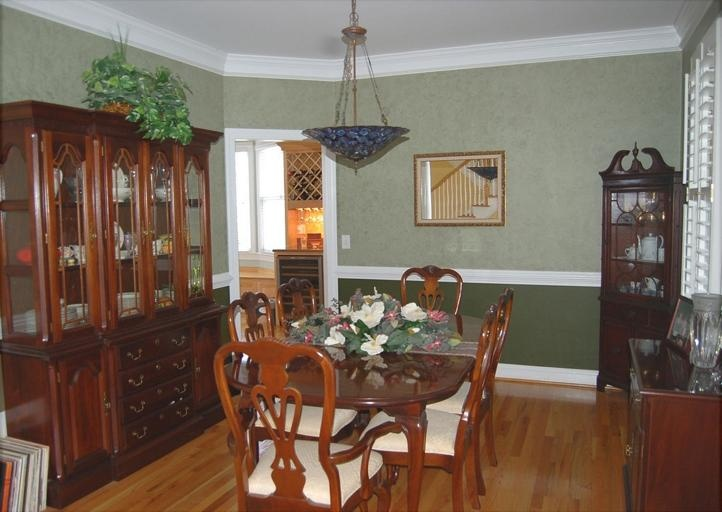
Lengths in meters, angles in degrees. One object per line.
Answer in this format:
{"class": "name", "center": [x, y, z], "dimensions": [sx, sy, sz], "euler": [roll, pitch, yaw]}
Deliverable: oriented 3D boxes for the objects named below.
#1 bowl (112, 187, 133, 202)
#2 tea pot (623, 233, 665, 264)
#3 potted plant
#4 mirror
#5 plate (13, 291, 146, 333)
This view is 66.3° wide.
{"class": "bowl", "center": [-1.732, -0.444, 4.010], "dimensions": [0.094, 0.066, 0.093], "euler": [-1, 0, 0]}
{"class": "tea pot", "center": [2.443, -0.062, 4.778], "dimensions": [0.161, 0.201, 0.278], "euler": [2, -3, -37]}
{"class": "potted plant", "center": [-1.628, -1.276, 4.223], "dimensions": [0.730, 0.551, 0.744], "euler": [12, 16, 16]}
{"class": "mirror", "center": [1.009, -0.684, 5.494], "dimensions": [0.771, 0.630, 0.027], "euler": [0, 0, 22]}
{"class": "plate", "center": [-1.947, 0.370, 3.826], "dimensions": [0.796, 0.209, 0.198], "euler": [-9, 15, -32]}
